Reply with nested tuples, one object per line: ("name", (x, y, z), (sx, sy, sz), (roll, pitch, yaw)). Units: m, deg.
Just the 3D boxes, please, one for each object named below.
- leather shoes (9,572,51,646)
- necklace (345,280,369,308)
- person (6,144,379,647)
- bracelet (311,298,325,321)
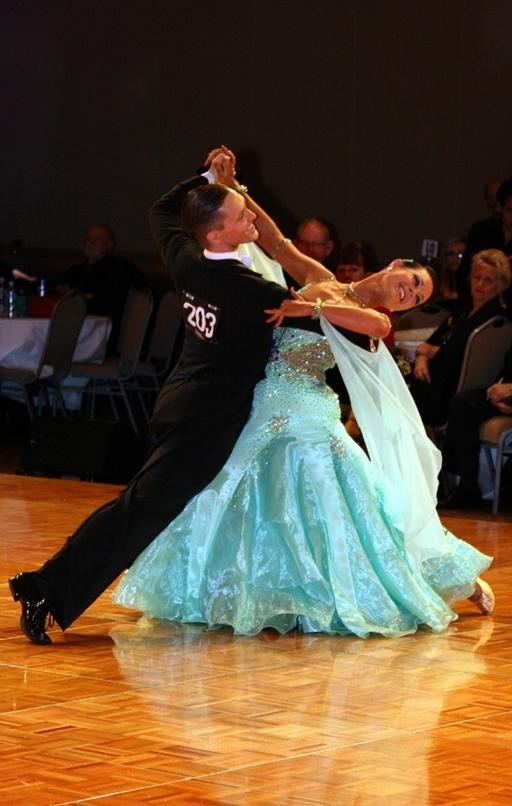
("leather shoes", (-0.590, 0.542, 1.939), (0.103, 0.205, 0.188), (3, -6, -11))
("necklace", (0.272, -0.310, 2.131), (0.028, 0.075, 0.076), (-21, 22, 49))
("person", (-0.246, 0.043, 2.010), (0.709, 1.222, 0.273), (1, -6, 4))
("bracelet", (0.162, -0.251, 1.951), (0.050, 0.043, 0.042), (7, 0, -1))
